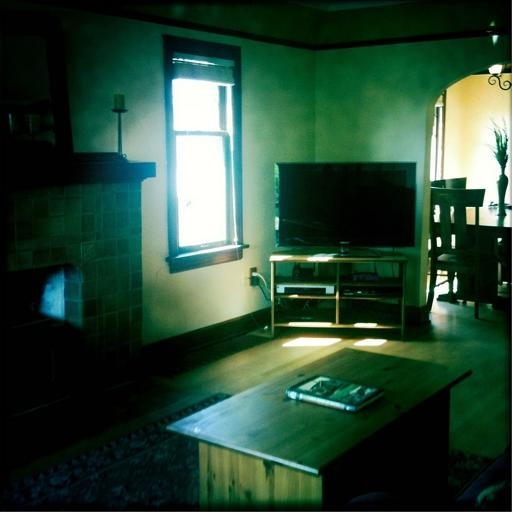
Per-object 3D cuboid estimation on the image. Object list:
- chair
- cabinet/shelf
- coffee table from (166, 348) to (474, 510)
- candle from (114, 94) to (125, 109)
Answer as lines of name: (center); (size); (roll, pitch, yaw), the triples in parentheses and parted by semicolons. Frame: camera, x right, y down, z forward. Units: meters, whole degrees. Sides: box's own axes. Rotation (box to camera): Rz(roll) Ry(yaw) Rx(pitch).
chair: (1.794, -0.047, 4.775); (0.466, 1.147, 0.678); (3, 8, 24)
cabinet/shelf: (0.700, 0.270, 4.478); (1.181, 0.688, 0.777); (0, 8, 5)
coffee table: (0.277, 0.696, 1.890); (1.083, 0.434, 0.585); (-8, 11, -43)
candle: (-0.763, -0.866, 2.925); (0.052, 0.115, 0.220); (-2, 9, -16)
